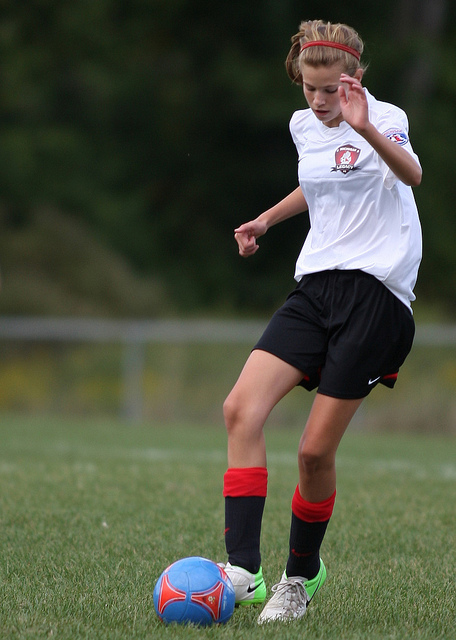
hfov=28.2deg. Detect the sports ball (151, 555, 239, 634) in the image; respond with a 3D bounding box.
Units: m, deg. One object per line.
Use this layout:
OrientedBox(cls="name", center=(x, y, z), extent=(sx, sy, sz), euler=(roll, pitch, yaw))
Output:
OrientedBox(cls="sports ball", center=(-0.072, 0.673, 2.352), extent=(0.366, 0.125, 0.180), euler=(2, 2, 16))
